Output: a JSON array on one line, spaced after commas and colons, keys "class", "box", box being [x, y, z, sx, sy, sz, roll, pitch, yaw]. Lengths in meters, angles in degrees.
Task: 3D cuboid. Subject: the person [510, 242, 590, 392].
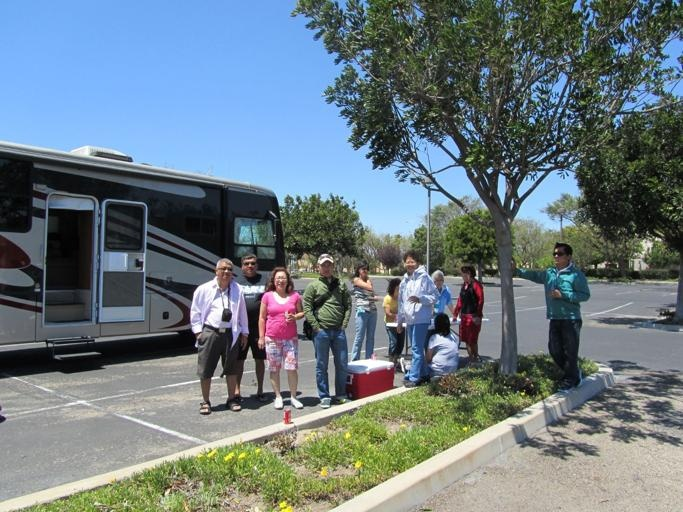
[{"class": "person", "box": [3.556, 0.943, 8.327, 0.890, 2.337, 1.174, 1, 1, 27]}]

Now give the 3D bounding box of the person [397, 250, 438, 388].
[{"class": "person", "box": [1.301, 1.038, 8.588, 0.549, 2.232, 0.611, 0, 1, -5]}]

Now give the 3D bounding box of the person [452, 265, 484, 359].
[{"class": "person", "box": [2.519, 1.153, 10.082, 0.544, 1.952, 0.856, 1, 1, 13]}]

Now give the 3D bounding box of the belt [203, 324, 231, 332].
[{"class": "belt", "box": [-1.774, 1.044, 7.264, 0.365, 0.106, 0.098, 0, 1, -16]}]

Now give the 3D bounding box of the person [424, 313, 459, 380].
[{"class": "person", "box": [1.786, 1.584, 9.164, 0.637, 1.140, 0.763, -1, 1, -28]}]

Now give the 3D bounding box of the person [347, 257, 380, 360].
[{"class": "person", "box": [0.420, 1.089, 9.620, 0.451, 1.928, 1.335, 0, 1, 1]}]

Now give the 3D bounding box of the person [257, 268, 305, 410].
[{"class": "person", "box": [-0.896, 1.225, 7.557, 0.658, 2.076, 0.437, 0, 1, -10]}]

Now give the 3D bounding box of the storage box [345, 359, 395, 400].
[{"class": "storage box", "box": [0.477, 1.962, 8.047, 0.840, 0.519, 0.350, 0, 1, -39]}]

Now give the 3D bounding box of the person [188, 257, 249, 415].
[{"class": "person", "box": [-1.779, 1.176, 7.448, 0.805, 2.253, 0.505, 0, 1, -18]}]

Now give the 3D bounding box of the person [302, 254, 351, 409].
[{"class": "person", "box": [-0.239, 1.128, 7.790, 0.722, 2.314, 0.963, 0, 1, 0]}]
